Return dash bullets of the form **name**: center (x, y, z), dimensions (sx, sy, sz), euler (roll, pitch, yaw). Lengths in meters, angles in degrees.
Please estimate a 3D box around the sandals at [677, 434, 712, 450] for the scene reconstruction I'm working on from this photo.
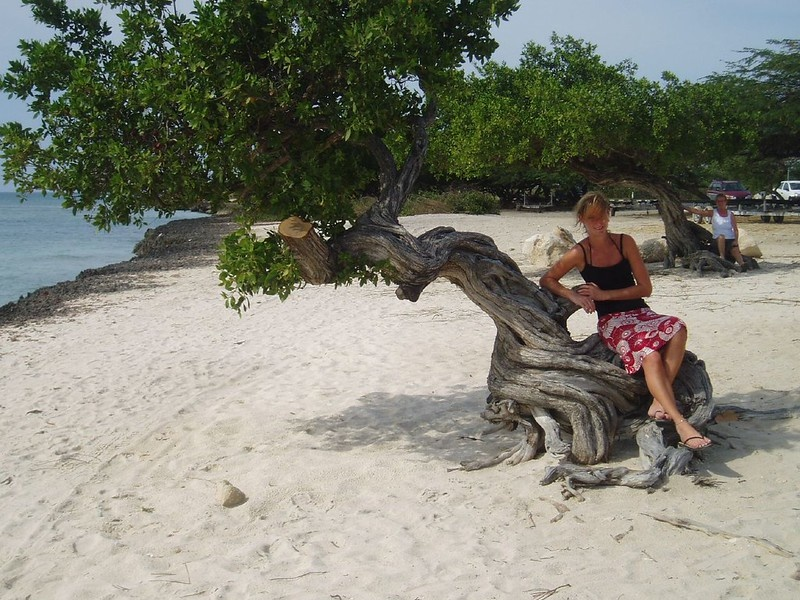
- **sandals**: center (2.826, 1.383, 7.067), dimensions (0.295, 0.076, 0.156), euler (-7, -4, 35)

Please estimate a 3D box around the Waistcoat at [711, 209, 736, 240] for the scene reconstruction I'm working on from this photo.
- **Waistcoat**: center (7.993, -1.828, 18.152), dimensions (0.497, 0.734, 0.565), euler (2, 15, 17)
